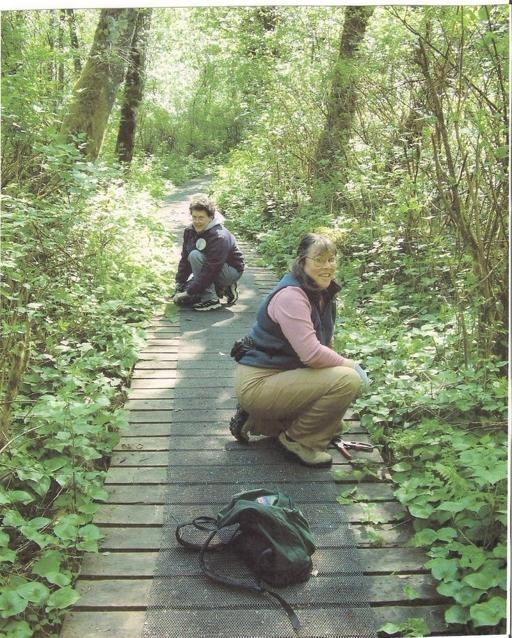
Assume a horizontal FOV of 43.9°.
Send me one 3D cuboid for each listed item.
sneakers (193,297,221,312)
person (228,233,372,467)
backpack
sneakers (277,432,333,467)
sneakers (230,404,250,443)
[{"bbox_3d":[-0.424,-0.109,5.458,0.250,0.106,0.089,-3,6,-20],"label":"sneakers"},{"bbox_3d":[0.228,0.158,3.136,0.826,0.965,0.657,1,5,0],"label":"person"},{"bbox_3d":[-0.049,0.797,2.333,0.454,0.251,0.309,1,12,-11],"label":"backpack"},{"bbox_3d":[0.230,0.629,3.021,0.263,0.106,0.103,17,12,7],"label":"sneakers"},{"bbox_3d":[-0.112,0.534,3.126,0.137,0.149,0.170,0,7,-3],"label":"sneakers"}]
